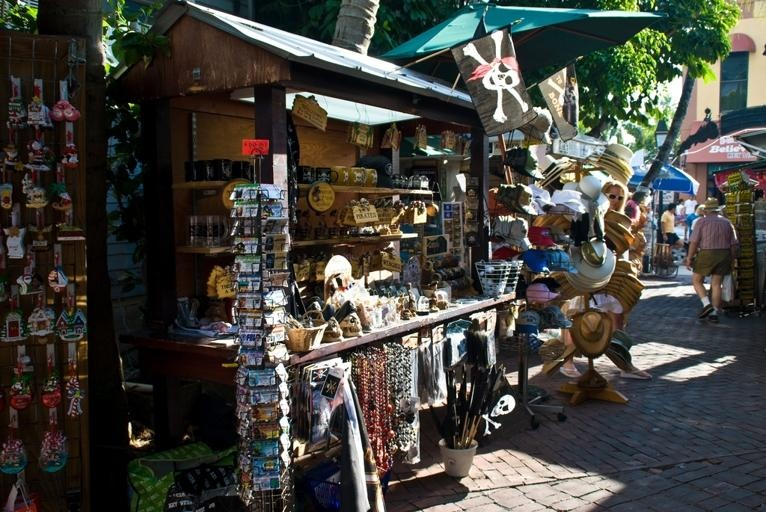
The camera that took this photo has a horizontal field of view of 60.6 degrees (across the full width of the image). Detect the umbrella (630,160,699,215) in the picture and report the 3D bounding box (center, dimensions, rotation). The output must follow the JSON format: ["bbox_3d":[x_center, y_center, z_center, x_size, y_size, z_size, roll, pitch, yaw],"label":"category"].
[{"bbox_3d":[8.189,-1.961,19.080,1.938,1.328,1.989,6,7,-38],"label":"umbrella"}]

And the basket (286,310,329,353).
[{"bbox_3d":[-0.700,0.713,6.075,0.316,0.237,0.353,-2,-5,43],"label":"basket"}]

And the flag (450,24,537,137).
[{"bbox_3d":[1.228,-1.921,7.252,0.917,1.085,0.233,-5,14,-23],"label":"flag"}]

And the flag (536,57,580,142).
[{"bbox_3d":[2.500,-2.141,9.132,0.028,0.978,0.921,-12,14,-13],"label":"flag"}]

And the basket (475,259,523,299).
[{"bbox_3d":[1.552,0.290,8.572,0.509,0.407,0.588,-9,-9,43],"label":"basket"}]
